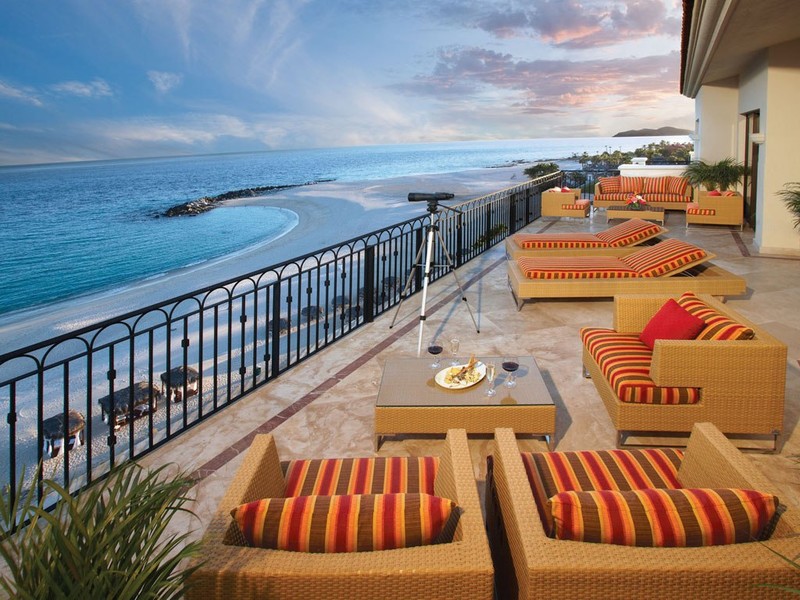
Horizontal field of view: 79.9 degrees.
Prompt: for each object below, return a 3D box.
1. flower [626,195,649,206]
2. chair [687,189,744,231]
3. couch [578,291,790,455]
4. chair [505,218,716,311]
[{"bbox_3d":[6.361,-2.642,12.806,0.599,0.235,0.539,3,8,12],"label":"flower"},{"bbox_3d":[7.901,-2.464,12.084,1.033,0.623,1.649,4,13,24],"label":"chair"},{"bbox_3d":[2.200,0.452,4.062,1.166,0.662,1.665,-4,13,16],"label":"couch"},{"bbox_3d":[2.922,-0.586,7.273,2.506,0.966,2.278,0,14,9],"label":"chair"}]
